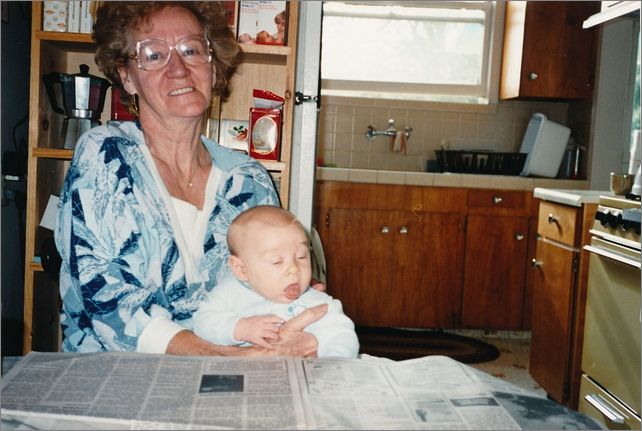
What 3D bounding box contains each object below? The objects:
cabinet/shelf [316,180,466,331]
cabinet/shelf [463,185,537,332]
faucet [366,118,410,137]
[{"bbox_3d":[0.460,0.239,4.043,1.038,0.957,0.508,0,14,-4],"label":"cabinet/shelf"},{"bbox_3d":[1.250,0.275,4.034,0.544,1.039,0.496,3,7,16],"label":"cabinet/shelf"},{"bbox_3d":[0.481,-0.668,4.356,0.445,0.177,0.128,0,7,-2],"label":"faucet"}]
